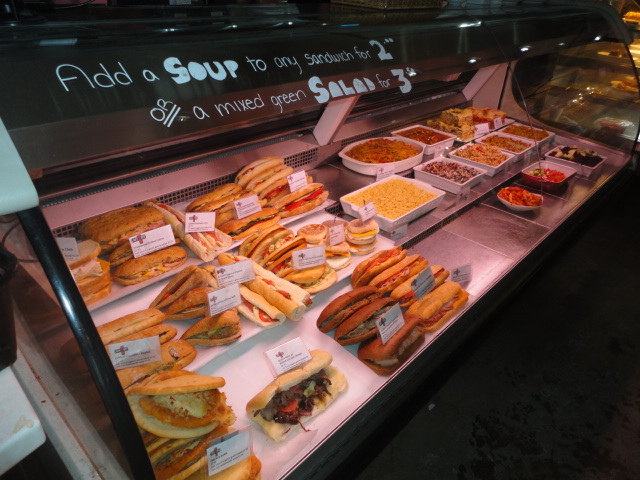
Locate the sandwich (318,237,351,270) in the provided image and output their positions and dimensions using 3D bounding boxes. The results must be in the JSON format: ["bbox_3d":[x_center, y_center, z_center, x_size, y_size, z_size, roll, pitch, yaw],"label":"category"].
[{"bbox_3d":[0.098,0.082,2.596,0.218,0.099,0.214,8,11,28],"label":"sandwich"}]

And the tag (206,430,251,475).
[{"bbox_3d":[-0.367,0.832,1.562,0.215,0.118,0.010,-17,24,-36],"label":"tag"}]

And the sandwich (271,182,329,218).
[{"bbox_3d":[-0.171,-0.306,2.851,0.226,0.155,0.505,38,43,26],"label":"sandwich"}]

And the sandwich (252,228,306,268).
[{"bbox_3d":[-0.261,0.043,2.411,0.264,0.087,0.264,-13,17,37],"label":"sandwich"}]

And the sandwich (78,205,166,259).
[{"bbox_3d":[-1.054,-0.055,2.112,0.225,0.098,0.333,26,35,24],"label":"sandwich"}]

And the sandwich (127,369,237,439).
[{"bbox_3d":[-0.538,0.625,1.628,0.449,0.127,0.386,13,7,43],"label":"sandwich"}]

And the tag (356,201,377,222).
[{"bbox_3d":[0.315,-0.194,2.728,0.169,0.084,0.029,-27,10,-38],"label":"tag"}]

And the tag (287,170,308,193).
[{"bbox_3d":[-0.169,-0.410,2.783,0.017,0.101,0.162,2,34,42],"label":"tag"}]

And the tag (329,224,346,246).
[{"bbox_3d":[0.102,-0.035,2.526,0.015,0.098,0.131,16,37,40],"label":"tag"}]

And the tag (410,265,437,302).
[{"bbox_3d":[0.603,0.254,2.342,0.204,0.140,0.063,-36,40,-29],"label":"tag"}]

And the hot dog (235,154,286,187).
[{"bbox_3d":[-0.410,-0.481,2.733,0.324,0.086,0.142,-27,77,-26],"label":"hot dog"}]

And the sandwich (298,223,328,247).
[{"bbox_3d":[-0.044,-0.048,2.554,0.182,0.046,0.147,-1,29,0],"label":"sandwich"}]

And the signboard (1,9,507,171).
[{"bbox_3d":[-0.226,-0.756,1.724,2.044,0.451,0.556,-24,40,-24],"label":"signboard"}]

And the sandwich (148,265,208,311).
[{"bbox_3d":[-0.708,0.264,2.126,0.368,0.084,0.145,-32,56,-2],"label":"sandwich"}]

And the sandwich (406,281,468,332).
[{"bbox_3d":[0.686,0.382,2.430,0.467,0.143,0.274,-32,20,-33],"label":"sandwich"}]

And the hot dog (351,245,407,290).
[{"bbox_3d":[0.364,0.152,2.503,0.376,0.101,0.114,-28,54,-19],"label":"hot dog"}]

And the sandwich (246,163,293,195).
[{"bbox_3d":[-0.320,-0.446,2.773,0.109,0.127,0.488,-2,23,40],"label":"sandwich"}]

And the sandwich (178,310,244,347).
[{"bbox_3d":[-0.546,0.445,2.053,0.379,0.120,0.198,-15,9,13],"label":"sandwich"}]

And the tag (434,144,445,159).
[{"bbox_3d":[1.106,-0.839,3.724,0.188,0.112,0.009,-34,45,-32],"label":"tag"}]

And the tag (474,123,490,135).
[{"bbox_3d":[1.620,-1.121,3.999,0.163,0.115,0.033,1,-3,-10],"label":"tag"}]

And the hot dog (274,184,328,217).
[{"bbox_3d":[-0.156,-0.298,2.854,0.209,0.145,0.465,36,46,25],"label":"hot dog"}]

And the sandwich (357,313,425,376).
[{"bbox_3d":[0.394,0.565,2.140,0.367,0.113,0.227,-40,63,-22],"label":"sandwich"}]

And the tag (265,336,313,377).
[{"bbox_3d":[-0.158,0.553,1.918,0.199,0.041,0.120,-20,67,-32],"label":"tag"}]

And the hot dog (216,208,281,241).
[{"bbox_3d":[-0.454,-0.112,2.588,0.362,0.087,0.174,-23,24,-35],"label":"hot dog"}]

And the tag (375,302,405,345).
[{"bbox_3d":[0.362,0.444,2.105,0.024,0.130,0.234,-5,19,47],"label":"tag"}]

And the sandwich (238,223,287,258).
[{"bbox_3d":[-0.375,-0.013,2.452,0.263,0.183,0.079,-29,77,-14],"label":"sandwich"}]

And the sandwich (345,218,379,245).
[{"bbox_3d":[0.247,-0.041,2.659,0.199,0.112,0.193,20,46,37],"label":"sandwich"}]

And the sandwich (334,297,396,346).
[{"bbox_3d":[0.196,0.458,2.308,0.314,0.144,0.504,-5,4,7],"label":"sandwich"}]

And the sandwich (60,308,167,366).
[{"bbox_3d":[-0.910,0.360,1.718,0.168,0.067,0.325,2,17,42],"label":"sandwich"}]

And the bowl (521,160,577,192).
[{"bbox_3d":[2.074,-0.583,3.633,0.396,0.097,0.254,-24,39,-33],"label":"bowl"}]

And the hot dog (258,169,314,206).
[{"bbox_3d":[-0.296,-0.390,2.780,0.535,0.133,0.141,-19,-7,-24],"label":"hot dog"}]

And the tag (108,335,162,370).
[{"bbox_3d":[-0.753,0.471,1.686,0.303,0.064,0.122,-10,73,21],"label":"tag"}]

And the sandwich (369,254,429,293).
[{"bbox_3d":[0.484,0.200,2.509,0.502,0.109,0.154,-22,37,-29],"label":"sandwich"}]

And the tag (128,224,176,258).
[{"bbox_3d":[-0.955,-0.020,2.192,0.065,0.141,0.289,-24,9,48],"label":"tag"}]

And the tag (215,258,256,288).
[{"bbox_3d":[-0.464,0.174,2.143,0.288,0.114,0.060,-10,16,-31],"label":"tag"}]

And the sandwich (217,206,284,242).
[{"bbox_3d":[-0.440,-0.112,2.636,0.410,0.095,0.184,-20,21,-36],"label":"sandwich"}]

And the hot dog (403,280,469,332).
[{"bbox_3d":[0.676,0.367,2.417,0.447,0.134,0.256,-32,33,-34],"label":"hot dog"}]

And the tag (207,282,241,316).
[{"bbox_3d":[-0.499,0.299,2.029,0.197,0.100,0.027,-21,6,-42],"label":"tag"}]

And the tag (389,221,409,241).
[{"bbox_3d":[0.537,-0.066,2.776,0.147,0.089,0.010,-24,30,-30],"label":"tag"}]

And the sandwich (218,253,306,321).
[{"bbox_3d":[-0.375,0.214,2.290,0.726,0.143,0.214,25,4,27],"label":"sandwich"}]
